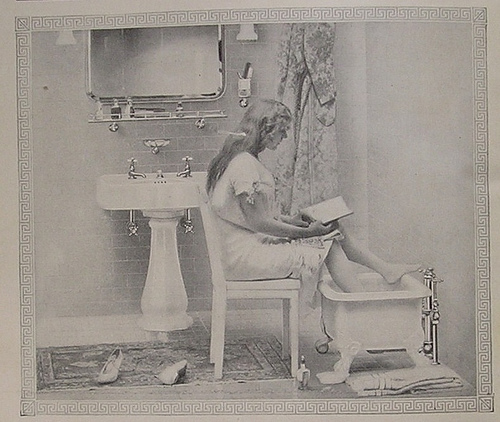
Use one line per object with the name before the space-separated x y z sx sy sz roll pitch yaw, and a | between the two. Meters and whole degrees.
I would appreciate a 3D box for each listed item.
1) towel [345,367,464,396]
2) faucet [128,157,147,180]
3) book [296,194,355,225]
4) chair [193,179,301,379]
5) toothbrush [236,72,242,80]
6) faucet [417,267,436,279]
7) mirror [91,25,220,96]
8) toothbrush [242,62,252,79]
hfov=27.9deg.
towel | 0.826 0.910 5.438 0.337 0.076 0.248 -2 -8 1
faucet | -0.661 -0.237 5.784 0.132 0.137 0.097 0 7 -2
book | 0.427 -0.007 5.447 0.211 0.056 0.146 -17 18 1
chair | -0.012 0.355 5.517 0.579 1.041 0.470 -1 9 2
toothbrush | -0.065 -0.780 5.807 0.013 0.014 0.048 14 38 -47
faucet | 0.979 0.331 5.561 0.080 0.034 0.089 0 0 6
mirror | -0.564 -0.882 5.809 0.774 0.449 0.027 -1 -2 9
toothbrush | -0.021 -0.809 5.795 0.057 0.094 0.032 0 9 10
